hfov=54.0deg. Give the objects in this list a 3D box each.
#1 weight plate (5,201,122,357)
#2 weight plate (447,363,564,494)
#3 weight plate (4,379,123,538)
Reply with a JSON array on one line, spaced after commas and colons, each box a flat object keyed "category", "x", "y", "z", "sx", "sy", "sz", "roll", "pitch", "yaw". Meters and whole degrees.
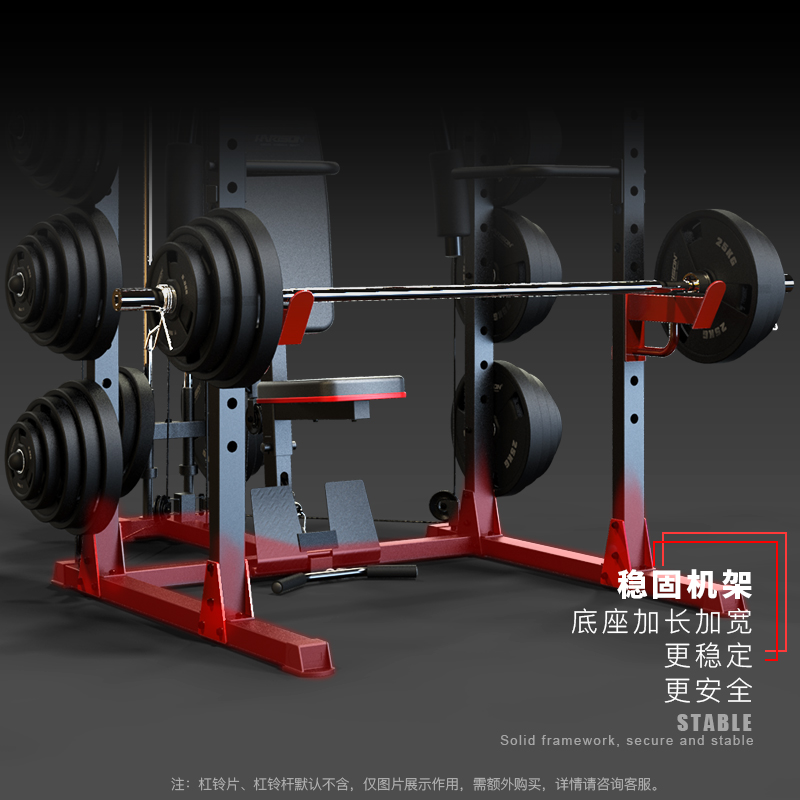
[{"category": "weight plate", "x": -0.882, "y": -0.319, "z": 2.039, "sx": 0.380, "sy": 0.418, "sz": 0.260, "roll": 0, "pitch": 1, "yaw": -2}, {"category": "weight plate", "x": 0.334, "y": 0.080, "z": 2.453, "sx": 0.150, "sy": 0.337, "sz": 0.267, "roll": -6, "pitch": 29, "yaw": -37}, {"category": "weight plate", "x": -0.842, "y": 0.143, "z": 2.009, "sx": 0.231, "sy": 0.505, "sz": 0.429, "roll": 0, "pitch": -10, "yaw": -39}]
